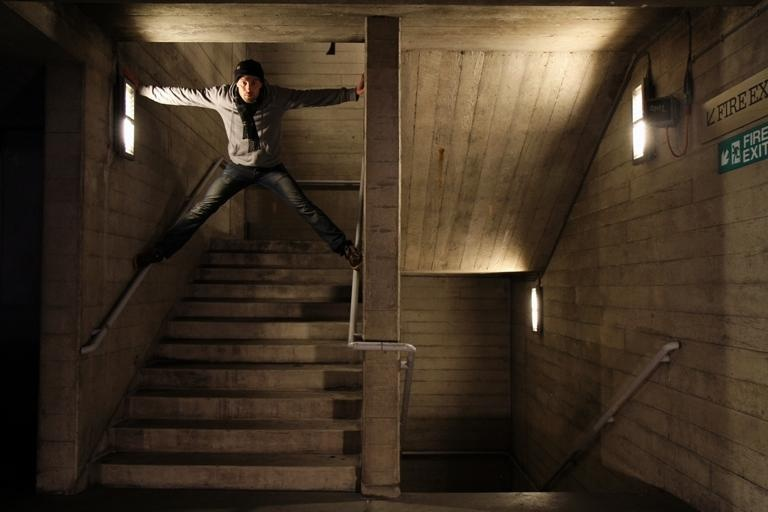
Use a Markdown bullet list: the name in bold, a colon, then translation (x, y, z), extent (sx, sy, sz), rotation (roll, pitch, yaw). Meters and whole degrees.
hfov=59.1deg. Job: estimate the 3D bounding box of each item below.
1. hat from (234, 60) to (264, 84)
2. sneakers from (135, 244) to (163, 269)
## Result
- **hat**: translation (-1.280, -1.723, 6.373), extent (0.254, 0.255, 0.292), rotation (-5, -10, -1)
- **sneakers**: translation (-2.274, 0.018, 6.539), extent (0.263, 0.116, 0.188), rotation (-9, 26, 1)
